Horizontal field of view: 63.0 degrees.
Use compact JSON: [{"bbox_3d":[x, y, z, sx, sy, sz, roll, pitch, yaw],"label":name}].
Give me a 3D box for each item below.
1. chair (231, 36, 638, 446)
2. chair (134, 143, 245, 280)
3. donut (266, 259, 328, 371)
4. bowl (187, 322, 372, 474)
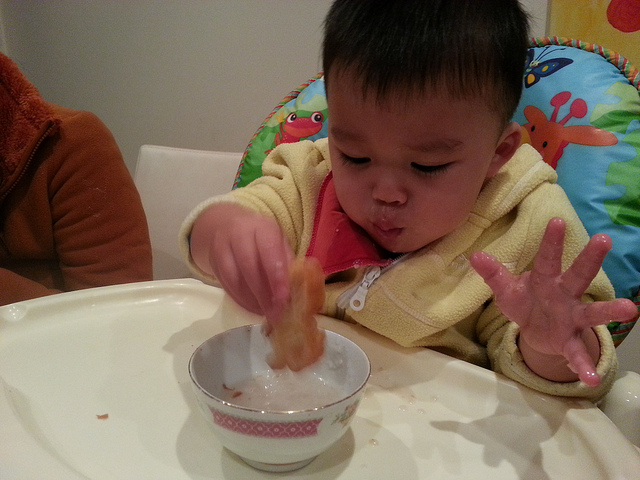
[{"bbox_3d":[0.354,-0.207,1.399,1.208,0.563,0.605,27,43,29],"label":"chair"},{"bbox_3d":[-0.521,-0.106,2.164,0.414,0.662,0.507,3,4,-5],"label":"chair"},{"bbox_3d":[-0.032,0.132,1.001,0.104,0.198,0.049,10,5,2],"label":"donut"},{"bbox_3d":[-0.077,0.199,0.910,0.235,0.132,0.253,1,14,0],"label":"bowl"}]
